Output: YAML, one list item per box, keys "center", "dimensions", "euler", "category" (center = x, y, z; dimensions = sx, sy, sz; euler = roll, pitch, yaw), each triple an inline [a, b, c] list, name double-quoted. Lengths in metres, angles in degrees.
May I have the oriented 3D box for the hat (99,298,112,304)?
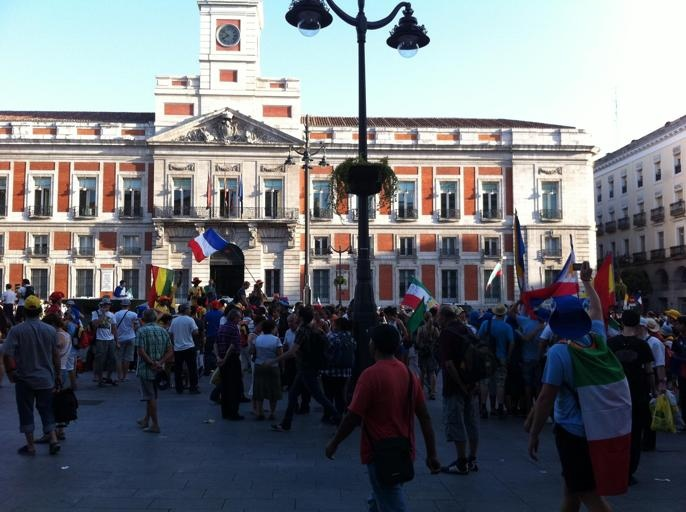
- center: [-6.512, 1.312, 27.575]
  dimensions: [0.255, 0.098, 0.251]
  euler: [-3, 3, -45]
  category: "hat"

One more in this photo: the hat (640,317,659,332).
- center: [6.634, 1.505, 21.826]
  dimensions: [0.426, 0.128, 0.384]
  euler: [6, 7, -37]
  category: "hat"

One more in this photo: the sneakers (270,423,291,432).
- center: [-1.356, 3.835, 21.799]
  dimensions: [0.412, 0.174, 0.156]
  euler: [7, -20, 8]
  category: "sneakers"

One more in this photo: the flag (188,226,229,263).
- center: [-5.852, -0.531, 43.352]
  dimensions: [1.731, 1.419, 0.263]
  euler: [7, -3, 36]
  category: "flag"

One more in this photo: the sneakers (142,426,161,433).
- center: [-4.045, 3.749, 21.316]
  dimensions: [0.347, 0.155, 0.138]
  euler: [4, -3, 26]
  category: "sneakers"

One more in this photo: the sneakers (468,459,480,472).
- center: [2.528, 4.083, 19.292]
  dimensions: [0.176, 0.277, 0.388]
  euler: [-4, -5, 26]
  category: "sneakers"

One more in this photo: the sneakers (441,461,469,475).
- center: [2.138, 4.114, 19.122]
  dimensions: [0.574, 0.262, 0.227]
  euler: [1, -7, 7]
  category: "sneakers"
